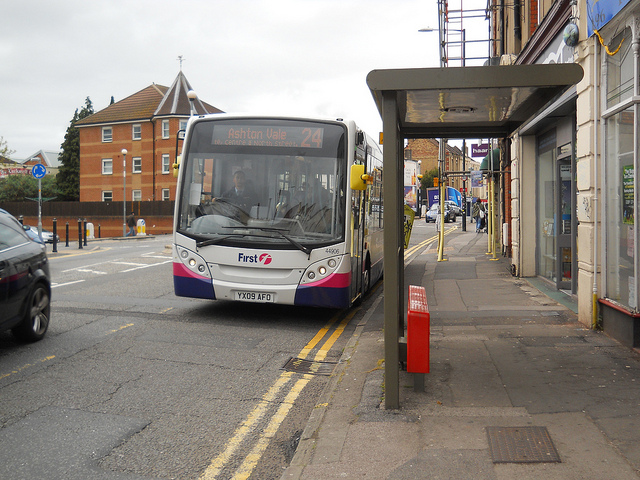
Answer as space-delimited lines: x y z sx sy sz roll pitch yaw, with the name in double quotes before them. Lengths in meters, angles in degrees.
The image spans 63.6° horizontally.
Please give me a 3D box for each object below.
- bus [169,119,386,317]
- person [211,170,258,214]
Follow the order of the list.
"bus" -0.746 -0.394 9.968 3.782 3.726 2.954 -1 4 13
"person" -1.419 -0.825 8.845 0.623 1.351 0.449 0 -3 6
